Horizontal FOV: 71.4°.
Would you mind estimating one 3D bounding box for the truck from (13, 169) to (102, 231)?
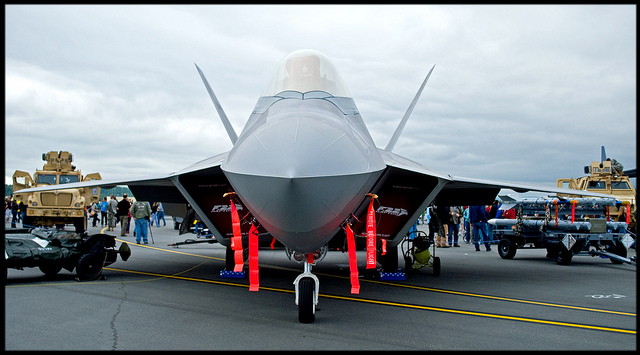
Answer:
[{"bbox_3d":[-14.408,0.902,24.479,4.257,2.376,5.068,3,8,-28],"label":"truck"}]
